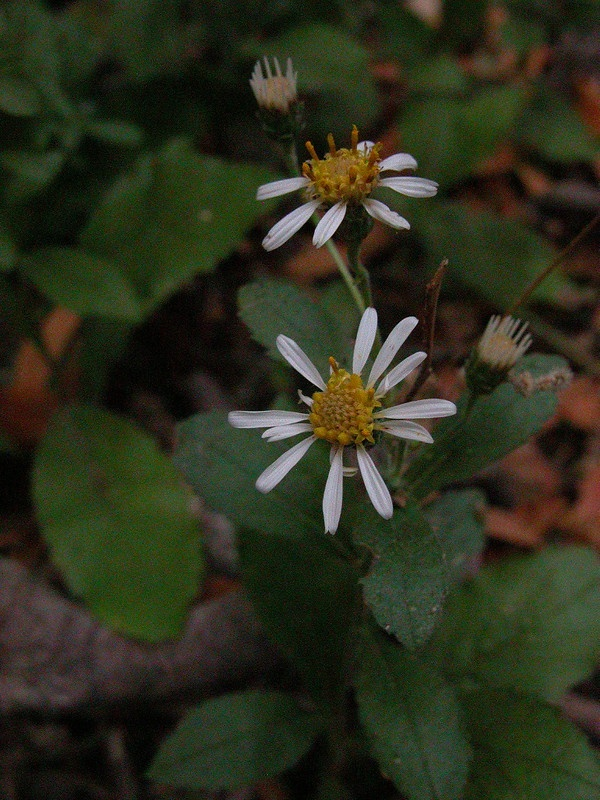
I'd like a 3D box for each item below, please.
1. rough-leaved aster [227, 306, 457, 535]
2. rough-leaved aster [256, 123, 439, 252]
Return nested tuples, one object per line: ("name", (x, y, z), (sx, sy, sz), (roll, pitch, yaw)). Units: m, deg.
("rough-leaved aster", (0.075, 0.054, 1.276), (0.292, 0.362, 0.299), (-20, 74, 1))
("rough-leaved aster", (0.081, -0.324, 1.246), (0.214, 0.200, 0.063), (-19, 72, -6))
